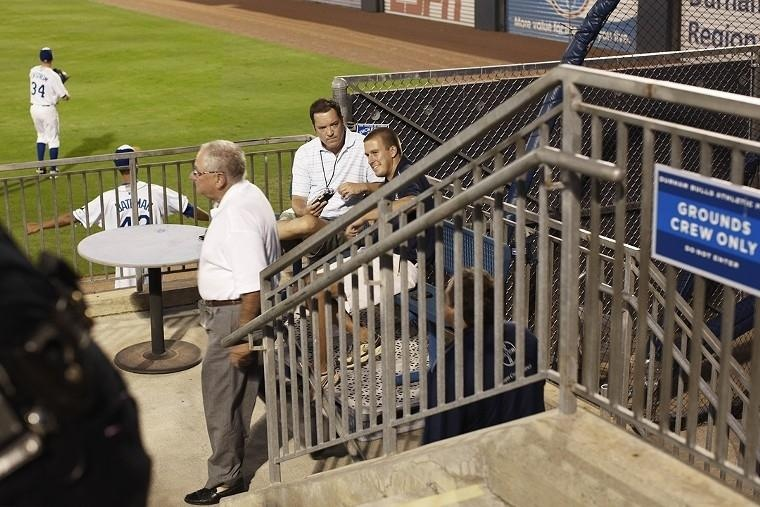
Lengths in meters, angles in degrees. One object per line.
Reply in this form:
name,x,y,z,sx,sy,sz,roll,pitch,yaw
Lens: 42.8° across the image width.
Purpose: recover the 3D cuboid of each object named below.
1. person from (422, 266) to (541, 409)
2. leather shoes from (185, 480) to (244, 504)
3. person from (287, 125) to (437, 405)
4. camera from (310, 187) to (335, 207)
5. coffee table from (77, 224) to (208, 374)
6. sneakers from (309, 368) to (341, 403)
person,0.601,0.565,5.454,0.670,0.969,0.615,4,24,3
leather shoes,-1.149,1.621,6.633,0.430,0.176,0.161,-2,10,-22
person,-0.142,0.118,6.635,0.668,1.243,1.987,-5,25,-3
camera,-0.553,-0.512,8.854,0.198,0.048,0.154,-10,26,41
coffee table,-1.932,0.280,8.426,1.212,0.907,1.221,-6,21,-24
sneakers,-0.401,0.915,6.886,0.272,0.148,0.392,-9,2,-6
